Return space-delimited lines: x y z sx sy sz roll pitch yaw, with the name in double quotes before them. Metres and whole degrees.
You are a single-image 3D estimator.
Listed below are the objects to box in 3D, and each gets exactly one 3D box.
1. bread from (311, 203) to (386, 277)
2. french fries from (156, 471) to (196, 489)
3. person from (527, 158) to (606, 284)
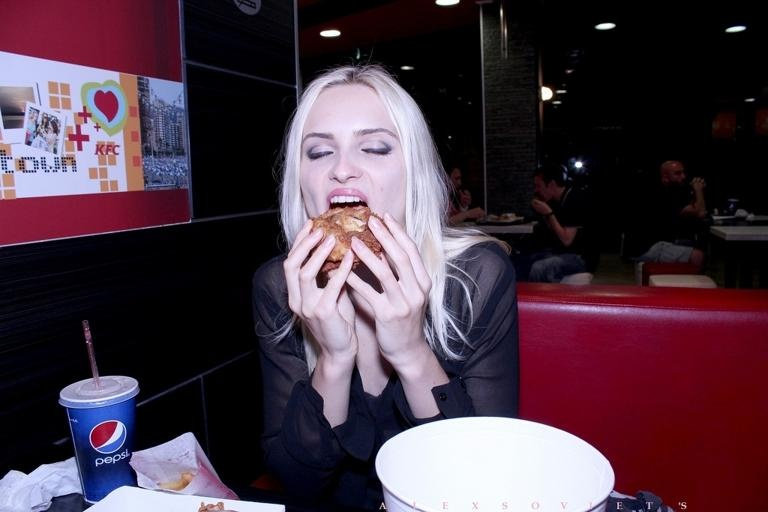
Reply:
"bread" -0.119 -0.043 1.463 0.222 0.192 0.147 2 9 11
"french fries" -0.492 0.542 1.169 0.051 0.020 0.040 6 -4 43
"person" 1.877 -0.368 5.154 0.693 1.182 1.076 4 10 21
